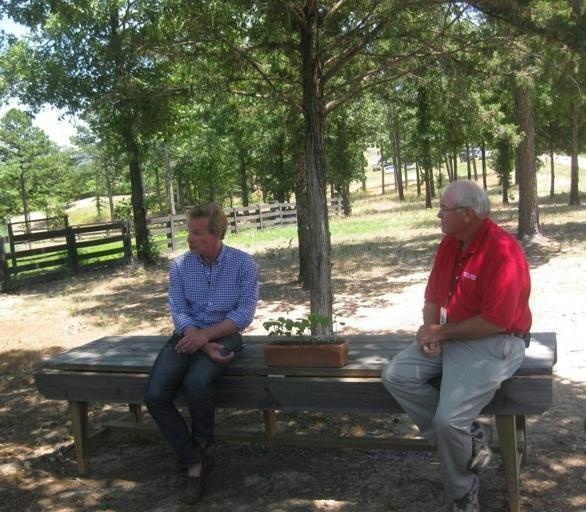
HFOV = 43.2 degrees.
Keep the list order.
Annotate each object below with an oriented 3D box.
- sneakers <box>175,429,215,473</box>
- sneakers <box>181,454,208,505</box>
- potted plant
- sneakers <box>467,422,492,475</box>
[{"bbox_3d":[-0.850,1.676,6.663,0.193,0.243,0.596,6,39,9],"label":"sneakers"},{"bbox_3d":[-0.814,1.881,6.337,0.135,0.155,0.419,-1,51,18],"label":"sneakers"},{"bbox_3d":[0.117,0.780,6.418,0.654,0.432,0.442,-2,-6,10],"label":"potted plant"},{"bbox_3d":[1.586,1.576,6.079,0.195,0.281,0.679,-2,3,18],"label":"sneakers"}]
